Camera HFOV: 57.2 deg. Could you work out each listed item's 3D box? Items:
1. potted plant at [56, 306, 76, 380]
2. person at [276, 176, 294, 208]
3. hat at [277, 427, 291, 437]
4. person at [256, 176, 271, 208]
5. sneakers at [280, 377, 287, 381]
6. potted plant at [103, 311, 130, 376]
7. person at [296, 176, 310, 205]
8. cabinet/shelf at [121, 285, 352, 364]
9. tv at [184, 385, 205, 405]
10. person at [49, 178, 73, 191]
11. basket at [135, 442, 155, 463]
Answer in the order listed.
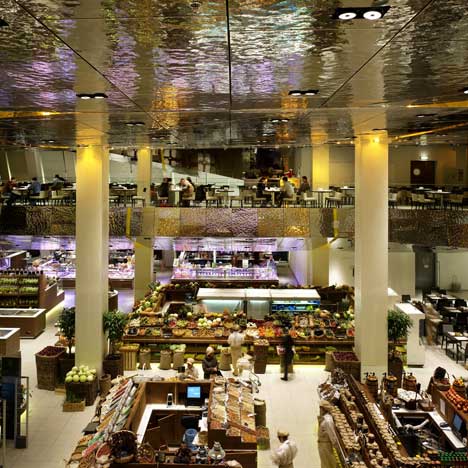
[{"bbox_3d":[-4.215,2.709,10.772,0.471,1.793,1.135,7,-10,-20],"label":"potted plant"},{"bbox_3d":[1.649,-1.320,13.824,0.551,0.786,0.234,1,-10,15],"label":"person"},{"bbox_3d":[0.722,2.917,6.339,0.163,0.049,0.113,4,2,17],"label":"hat"},{"bbox_3d":[0.933,-1.389,13.923,0.514,0.919,0.229,7,-10,-25],"label":"person"},{"bbox_3d":[1.272,3.691,11.027,0.135,0.108,0.061,-1,7,23],"label":"sneakers"},{"bbox_3d":[-3.029,2.697,10.785,0.573,1.575,1.201,5,-9,-11],"label":"potted plant"},{"bbox_3d":[2.317,-1.486,14.247,0.422,1.099,1.023,2,-9,9],"label":"person"},{"bbox_3d":[0.191,2.715,13.637,6.955,2.101,3.909,1,-8,8],"label":"cabinet/shelf"},{"bbox_3d":[-0.686,2.880,7.813,0.447,0.351,0.333,0,-1,-1],"label":"tv"},{"bbox_3d":[-5.619,-1.638,14.013,0.857,0.186,0.717,-2,16,-8],"label":"person"},{"bbox_3d":[-1.152,2.861,5.634,0.253,0.139,0.357,4,-8,-9],"label":"basket"}]
